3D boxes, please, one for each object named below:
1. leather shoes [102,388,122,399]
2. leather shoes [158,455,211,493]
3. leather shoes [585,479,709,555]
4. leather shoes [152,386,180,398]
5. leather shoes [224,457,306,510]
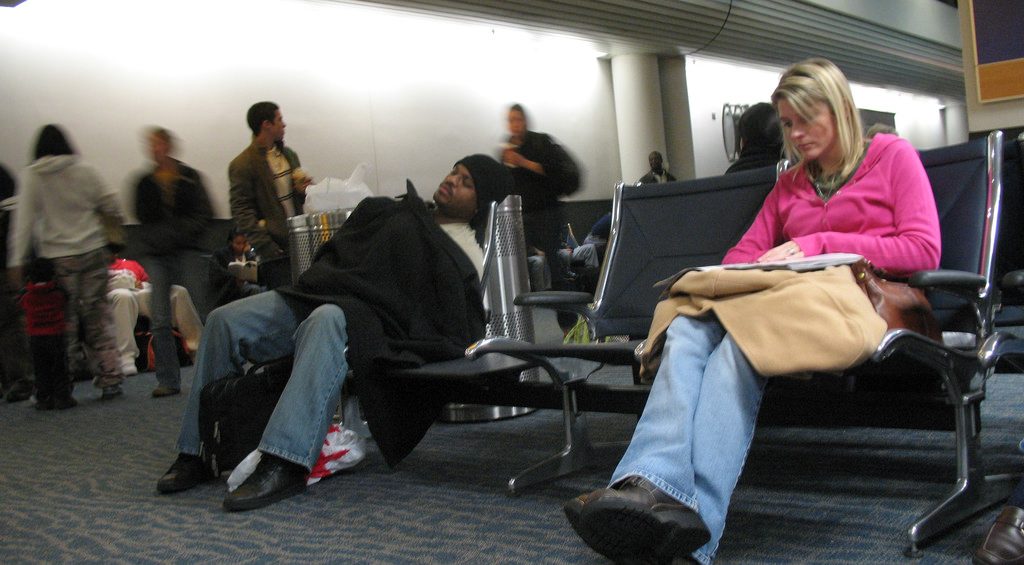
[{"bbox_3d":[-3.319,0.932,5.648,0.124,0.075,0.090,-9,-4,5],"label":"leather shoes"},{"bbox_3d":[-1.682,0.947,3.459,0.134,0.166,0.253,6,12,14],"label":"leather shoes"},{"bbox_3d":[0.439,0.854,2.451,0.411,0.221,0.274,10,21,-13],"label":"leather shoes"},{"bbox_3d":[-2.879,0.910,5.626,0.085,0.094,0.235,-9,-17,37],"label":"leather shoes"},{"bbox_3d":[-1.174,0.928,3.241,0.170,0.236,0.408,-5,-3,34],"label":"leather shoes"}]
